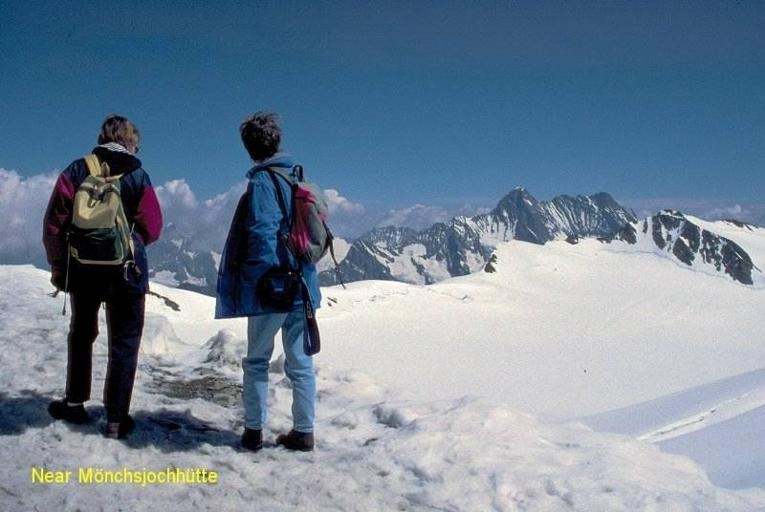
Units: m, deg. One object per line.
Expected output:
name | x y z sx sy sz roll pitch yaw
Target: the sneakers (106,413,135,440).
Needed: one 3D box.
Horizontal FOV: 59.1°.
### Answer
sneakers | -4.534 2.925 11.505 0.220 0.277 0.615 -7 -32 -7
